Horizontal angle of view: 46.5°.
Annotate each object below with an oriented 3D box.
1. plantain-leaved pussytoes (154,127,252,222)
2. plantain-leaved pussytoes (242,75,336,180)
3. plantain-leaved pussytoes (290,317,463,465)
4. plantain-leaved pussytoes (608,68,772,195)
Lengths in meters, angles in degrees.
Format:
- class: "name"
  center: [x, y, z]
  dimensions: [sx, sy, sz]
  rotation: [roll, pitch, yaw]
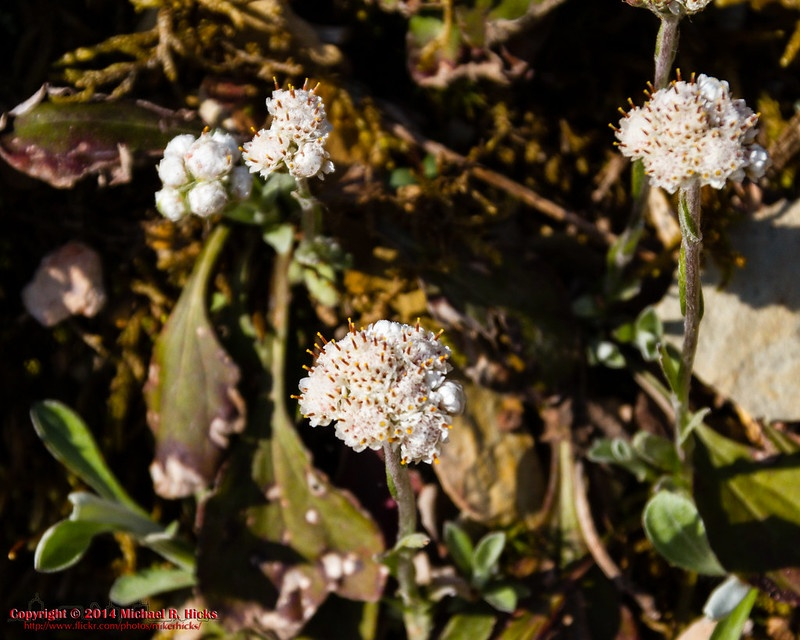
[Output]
- class: "plantain-leaved pussytoes"
  center: [-0.332, -0.242, 1.546]
  dimensions: [0.161, 0.089, 0.148]
  rotation: [-23, 81, -4]
- class: "plantain-leaved pussytoes"
  center: [-0.178, -0.286, 1.477]
  dimensions: [0.127, 0.072, 0.160]
  rotation: [12, 90, 10]
- class: "plantain-leaved pussytoes"
  center: [-0.031, 0.125, 1.463]
  dimensions: [0.207, 0.230, 0.219]
  rotation: [15, 54, 9]
- class: "plantain-leaved pussytoes"
  center: [0.425, -0.280, 1.374]
  dimensions: [0.176, 0.104, 0.181]
  rotation: [-4, 85, 6]
